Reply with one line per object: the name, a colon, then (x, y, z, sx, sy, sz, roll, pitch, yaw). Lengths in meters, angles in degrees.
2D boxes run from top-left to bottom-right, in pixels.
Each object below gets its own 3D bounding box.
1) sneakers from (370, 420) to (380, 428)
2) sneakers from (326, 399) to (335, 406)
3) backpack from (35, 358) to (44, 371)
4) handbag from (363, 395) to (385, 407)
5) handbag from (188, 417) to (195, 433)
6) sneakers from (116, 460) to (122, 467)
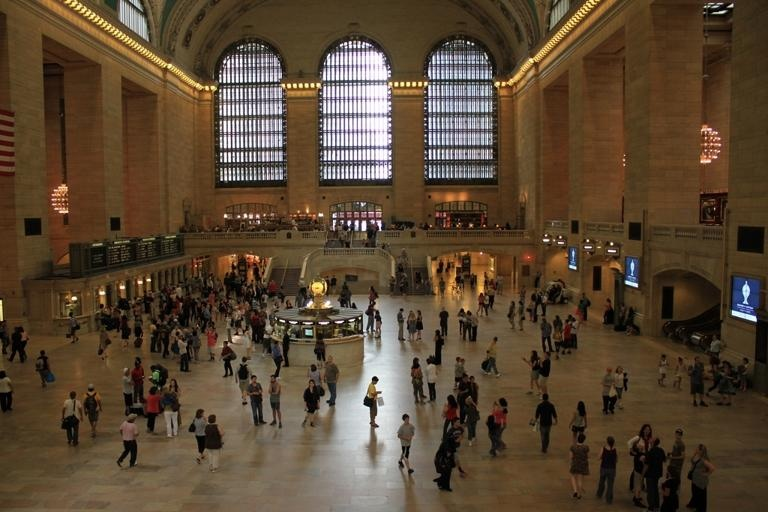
sneakers: (-0.358, 5.979, 23.231, 0.416, 0.292, 0.137, -2, 13, -2)
sneakers: (-2.081, 5.542, 24.827, 0.416, 0.304, 0.140, 2, 4, -10)
backpack: (-13.966, 4.378, 26.545, 0.351, 0.487, 0.468, 3, 4, -6)
handbag: (-0.346, 5.083, 22.743, 0.629, 0.315, 0.387, 0, 7, -3)
handbag: (-6.321, 5.621, 21.448, 0.141, 0.421, 1.467, 1, -3, -16)
sneakers: (-8.613, 6.699, 21.187, 0.139, 0.238, 0.297, 2, -3, -30)
